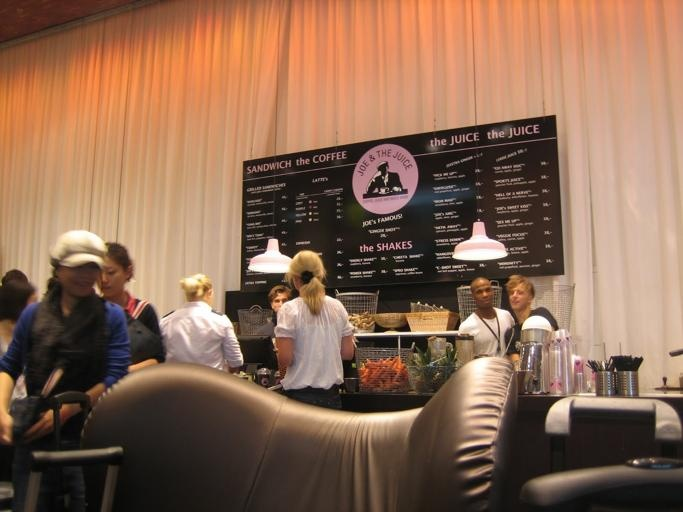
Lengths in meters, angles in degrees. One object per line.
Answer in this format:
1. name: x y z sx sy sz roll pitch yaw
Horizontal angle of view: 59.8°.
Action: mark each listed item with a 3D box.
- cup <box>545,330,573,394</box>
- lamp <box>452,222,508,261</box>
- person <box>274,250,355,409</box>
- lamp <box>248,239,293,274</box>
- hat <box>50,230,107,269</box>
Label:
1. cup: 1.090 0.526 2.952 0.108 0.307 0.189 -4 -5 27
2. lamp: 0.972 -0.063 4.122 0.320 0.200 0.313 0 -1 -34
3. person: -0.149 0.411 3.376 0.425 0.888 0.271 -2 -4 1
4. lamp: -0.565 0.047 4.596 0.329 0.215 0.337 -5 -9 27
5. hat: -1.049 -0.018 2.362 0.227 0.151 0.308 6 -9 -42
